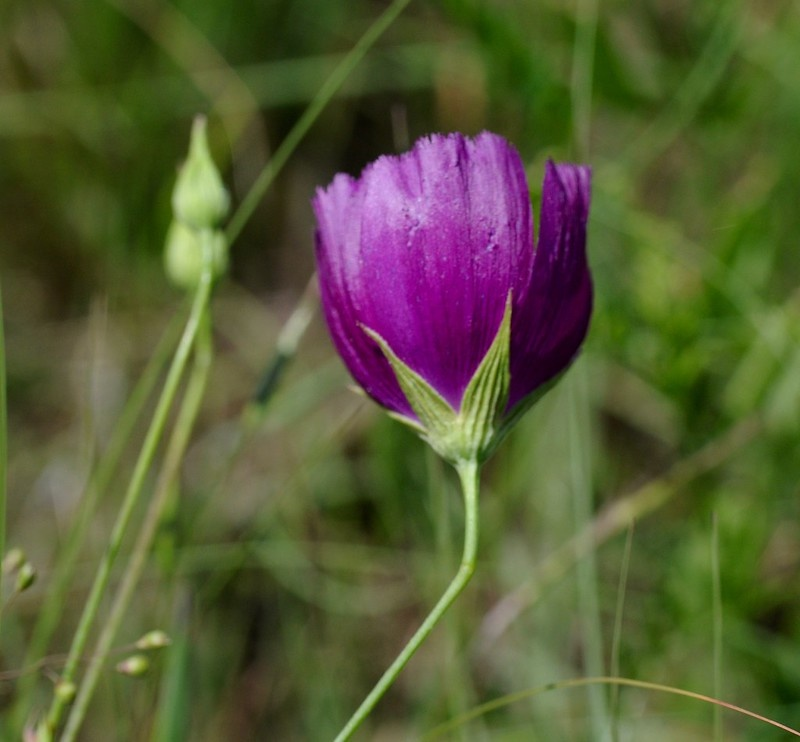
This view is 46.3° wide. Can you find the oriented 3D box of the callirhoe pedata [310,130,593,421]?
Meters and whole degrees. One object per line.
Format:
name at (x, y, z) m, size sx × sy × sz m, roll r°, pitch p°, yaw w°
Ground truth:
callirhoe pedata at (0.030, -0.043, 0.513) m, size 0.149 × 0.179 × 0.138 m, roll -2°, pitch 14°, yaw 33°
